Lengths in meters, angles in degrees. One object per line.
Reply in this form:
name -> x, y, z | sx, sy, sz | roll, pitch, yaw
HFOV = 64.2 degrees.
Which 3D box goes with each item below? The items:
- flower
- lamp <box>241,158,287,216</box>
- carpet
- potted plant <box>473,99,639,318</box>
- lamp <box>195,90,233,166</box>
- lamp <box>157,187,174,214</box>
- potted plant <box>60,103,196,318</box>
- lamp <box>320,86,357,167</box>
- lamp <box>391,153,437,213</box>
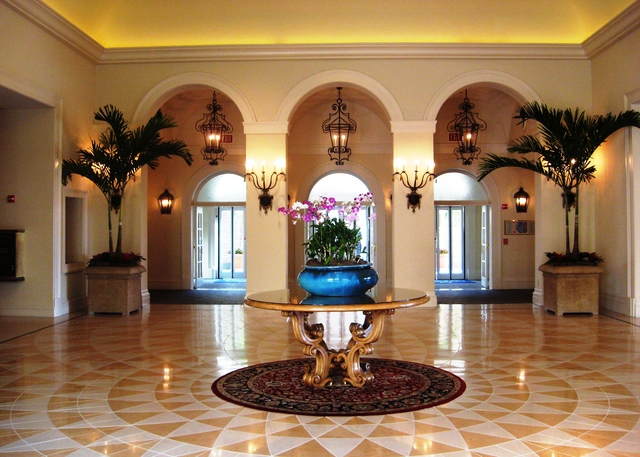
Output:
flower -> 0.128, 0.011, 5.579 | 0.852, 0.737, 0.394 | 0, 4, 0
lamp -> -0.984, -0.762, 9.455 | 1.202, 1.328, 0.377 | 0, -8, -3
carpet -> 0.330, 1.761, 5.962 | 2.960, 0.021, 2.837 | -3, -6, 40
potted plant -> 4.353, -0.420, 9.095 | 1.906, 3.769, 1.331 | 0, 4, 9
lamp -> -2.489, -2.364, 12.174 | 0.893, 1.710, 1.835 | -1, 4, -13
lamp -> -4.007, -0.648, 12.860 | 0.573, 0.787, 0.594 | -1, 2, -11
potted plant -> -3.656, -0.196, 9.219 | 2.419, 3.569, 2.158 | -5, -6, 43
lamp -> 0.482, -2.402, 12.213 | 0.861, 1.739, 1.448 | 0, 4, 1
lamp -> 1.756, -0.773, 9.572 | 0.725, 0.983, 0.212 | -1, 4, -6
